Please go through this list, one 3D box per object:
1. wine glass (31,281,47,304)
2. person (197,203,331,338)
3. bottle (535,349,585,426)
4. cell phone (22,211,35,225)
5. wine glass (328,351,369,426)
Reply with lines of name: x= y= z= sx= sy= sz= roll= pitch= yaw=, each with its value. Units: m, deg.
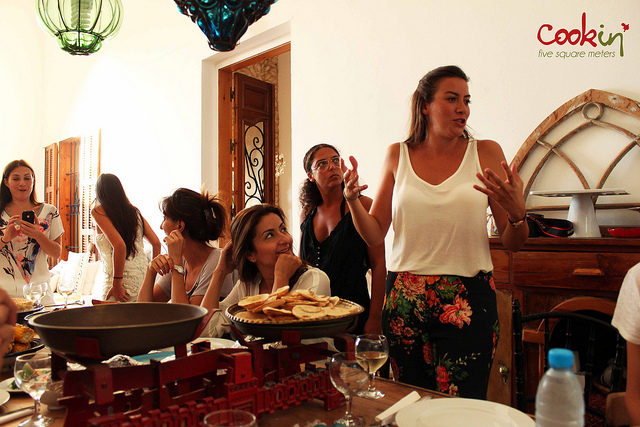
wine glass: x=-1.807 y=0.500 z=2.818 sx=0.122 sy=0.179 sz=0.116 roll=1 pitch=-3 yaw=-34
person: x=-0.306 y=0.293 z=2.264 sx=0.499 sy=0.695 sz=0.388 roll=-10 pitch=-30 yaw=-14
bottle: x=0.680 y=0.495 z=1.250 sx=0.120 sy=0.222 sz=0.077 roll=-1 pitch=-4 yaw=25
cell phone: x=-2.432 y=0.038 z=3.663 sx=0.109 sy=0.146 sz=0.015 roll=-2 pitch=1 yaw=-18
wine glass: x=0.100 y=0.617 z=1.565 sx=0.134 sy=0.246 sz=0.248 roll=0 pitch=-4 yaw=0
